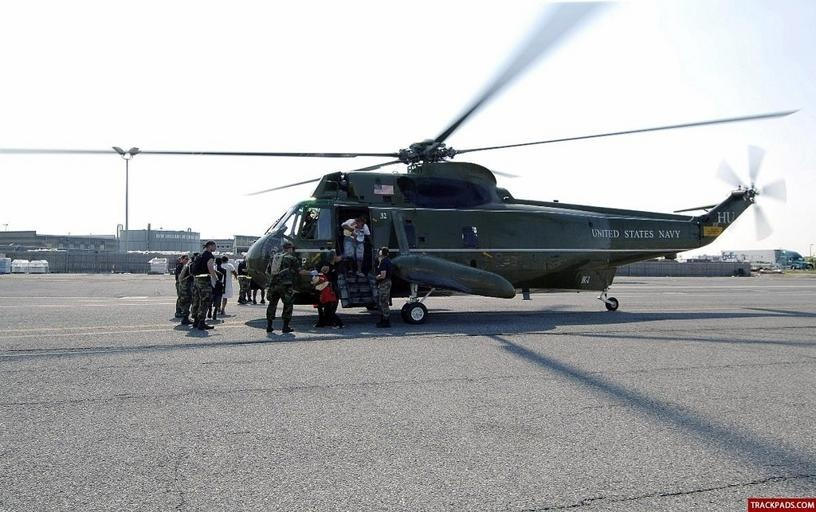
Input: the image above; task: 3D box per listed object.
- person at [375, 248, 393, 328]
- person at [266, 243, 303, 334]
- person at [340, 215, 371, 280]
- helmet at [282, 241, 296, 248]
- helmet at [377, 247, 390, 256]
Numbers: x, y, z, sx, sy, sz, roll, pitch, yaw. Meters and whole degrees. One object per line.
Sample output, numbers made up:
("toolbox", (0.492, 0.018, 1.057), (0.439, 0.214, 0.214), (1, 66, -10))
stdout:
("person", (-0.596, 0.741, 14.926), (0.372, 1.933, 1.142), (0, -1, -3))
("person", (-2.903, 0.684, 14.257), (0.773, 2.068, 1.547), (0, -1, -10))
("person", (-1.402, -0.340, 16.040), (0.713, 1.513, 0.597), (0, -1, 7))
("helmet", (-2.766, -0.221, 14.130), (0.269, 0.137, 0.325), (8, 10, 8))
("helmet", (-0.577, -0.114, 14.875), (0.220, 0.206, 0.246), (12, 15, 1))
